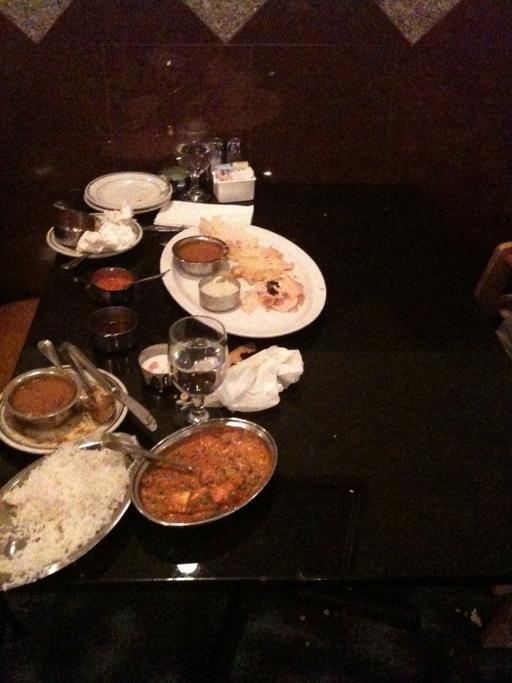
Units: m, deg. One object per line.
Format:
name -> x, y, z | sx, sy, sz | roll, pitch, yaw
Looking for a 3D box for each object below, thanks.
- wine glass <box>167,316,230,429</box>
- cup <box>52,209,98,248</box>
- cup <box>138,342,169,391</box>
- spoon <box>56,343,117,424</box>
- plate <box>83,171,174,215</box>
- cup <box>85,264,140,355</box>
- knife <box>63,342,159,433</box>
wine glass -> -0.120, 0.070, 1.259 | 0.148, 0.208, 0.122 | 12, 48, 9
cup -> -0.593, -0.363, 1.878 | 0.158, 0.113, 0.098 | 2, 84, 5
cup -> -0.235, 0.058, 1.415 | 0.099, 0.074, 0.105 | 3, 50, -4
spoon -> -0.377, 0.068, 1.330 | 0.077, 0.036, 0.250 | -34, 63, -8
plate -> -0.452, -0.496, 2.144 | 0.252, 0.052, 0.228 | -7, 44, -12
cup -> -0.388, -0.090, 1.584 | 0.130, 0.072, 0.303 | 2, 40, -11
knife -> -0.323, 0.107, 1.320 | 0.037, 0.029, 0.259 | -45, 69, -6
